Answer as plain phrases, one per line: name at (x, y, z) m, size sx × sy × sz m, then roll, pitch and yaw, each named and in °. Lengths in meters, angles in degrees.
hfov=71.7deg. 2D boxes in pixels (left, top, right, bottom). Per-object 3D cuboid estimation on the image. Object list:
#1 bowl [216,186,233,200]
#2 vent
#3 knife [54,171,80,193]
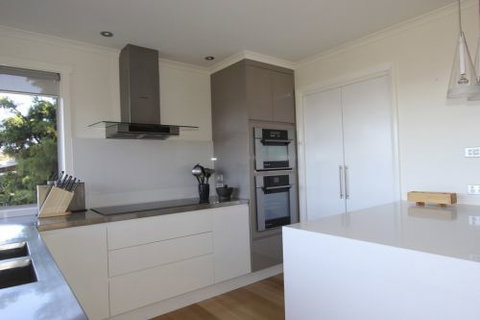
bowl at (-0.167, 0.415, 4.239) m, size 0.279 × 0.162 × 0.239 m, roll -1°, pitch 2°, yaw -30°
vent at (-1.247, -0.801, 4.051) m, size 1.207 × 1.017 × 0.693 m, roll -4°, pitch 6°, yaw -38°
knife at (-1.852, 0.214, 3.542) m, size 0.061 × 0.256 × 0.253 m, roll 2°, pitch -22°, yaw 41°
